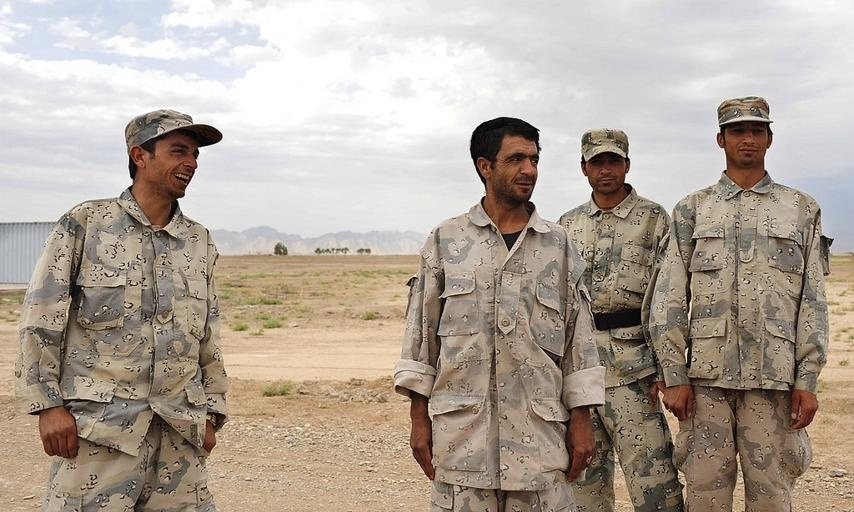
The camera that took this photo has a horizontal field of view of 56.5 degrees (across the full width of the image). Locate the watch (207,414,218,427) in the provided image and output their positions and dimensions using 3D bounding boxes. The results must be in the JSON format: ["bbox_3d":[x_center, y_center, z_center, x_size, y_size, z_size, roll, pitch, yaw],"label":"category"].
[{"bbox_3d":[-1.815,1.382,6.717,0.078,0.084,0.096,-12,-29,-16],"label":"watch"}]

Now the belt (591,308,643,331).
[{"bbox_3d":[1.850,0.604,7.620,0.393,0.149,0.281,-4,-4,-8],"label":"belt"}]
